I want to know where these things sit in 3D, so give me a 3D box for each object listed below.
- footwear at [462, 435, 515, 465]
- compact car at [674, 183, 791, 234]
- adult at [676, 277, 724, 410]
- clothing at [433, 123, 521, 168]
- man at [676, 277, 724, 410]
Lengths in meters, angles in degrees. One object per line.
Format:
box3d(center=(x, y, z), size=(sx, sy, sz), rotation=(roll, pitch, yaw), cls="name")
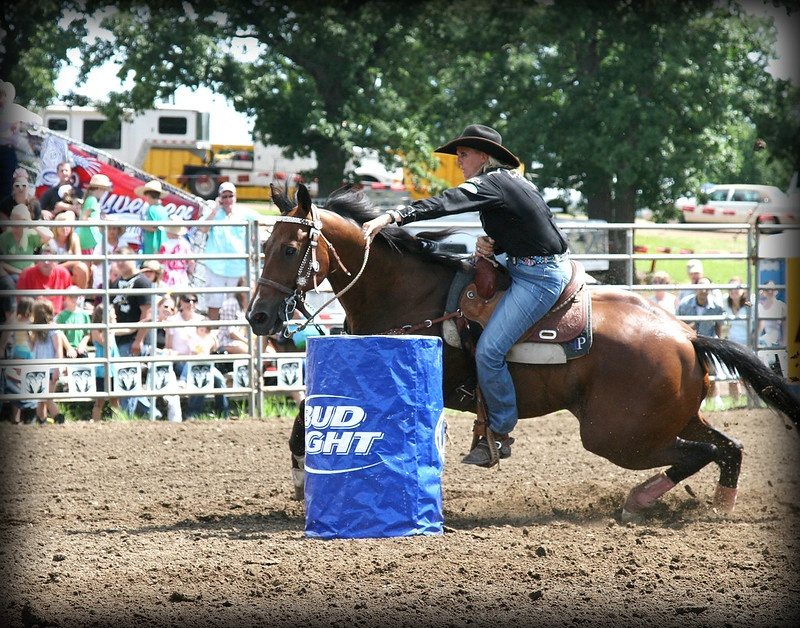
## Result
box3d(center=(0.993, 1.561, 19.781), size=(0.252, 0.300, 0.705), rotation=(2, 8, 38), cls="footwear")
box3d(center=(6.736, -1.890, 35.029), size=(2.442, 0.758, 1.228), rotation=(9, 10, 31), cls="compact car")
box3d(center=(3.763, 0.415, 21.964), size=(0.388, 1.790, 1.063), rotation=(3, 5, 25), cls="adult")
box3d(center=(0.912, -1.809, 19.766), size=(0.689, 0.283, 0.574), rotation=(22, -3, -10), cls="clothing")
box3d(center=(3.763, 0.415, 21.964), size=(0.388, 1.790, 1.063), rotation=(3, 5, 25), cls="man")
